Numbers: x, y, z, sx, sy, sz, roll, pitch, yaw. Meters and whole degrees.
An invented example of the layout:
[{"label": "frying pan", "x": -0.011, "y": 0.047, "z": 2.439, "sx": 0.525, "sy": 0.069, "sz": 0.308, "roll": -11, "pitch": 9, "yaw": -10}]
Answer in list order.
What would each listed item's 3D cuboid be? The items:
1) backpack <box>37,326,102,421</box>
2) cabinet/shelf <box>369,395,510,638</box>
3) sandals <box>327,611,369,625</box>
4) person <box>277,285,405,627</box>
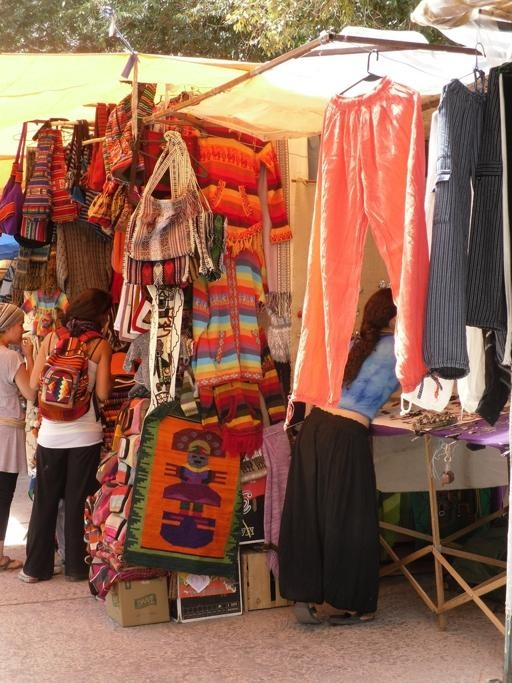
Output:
[{"label": "backpack", "x": -1.204, "y": 0.219, "z": 4.081, "sx": 0.384, "sy": 0.570, "sz": 0.344, "roll": -4, "pitch": 15, "yaw": -18}, {"label": "cabinet/shelf", "x": 1.053, "y": 0.951, "z": 3.445, "sx": 0.832, "sy": 1.398, "sz": 0.818, "roll": -2, "pitch": 3, "yaw": -43}, {"label": "sandals", "x": 0.500, "y": 1.529, "z": 3.445, "sx": 0.225, "sy": 0.073, "sz": 0.074, "roll": 4, "pitch": 0, "yaw": -2}, {"label": "person", "x": 0.536, "y": 0.660, "z": 3.615, "sx": 0.563, "sy": 1.782, "sz": 0.571, "roll": 7, "pitch": 0, "yaw": 21}]
